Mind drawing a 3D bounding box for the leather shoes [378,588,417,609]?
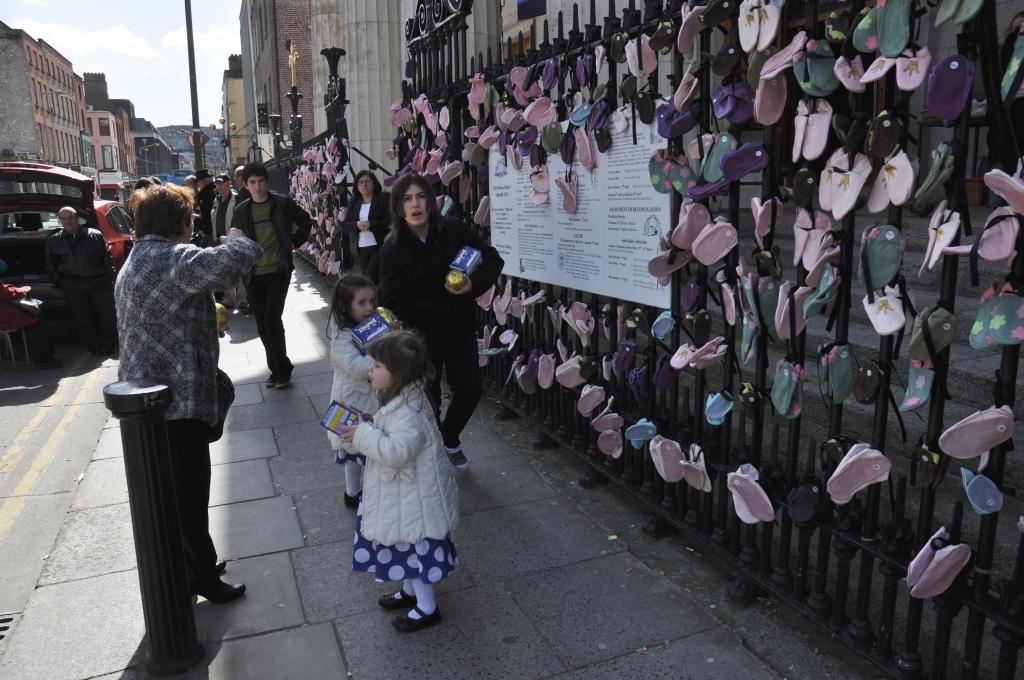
[{"bbox_3d":[-0.684,1.571,4.663,0.259,0.116,0.100,5,10,-7],"label":"leather shoes"}]

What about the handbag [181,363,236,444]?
[{"bbox_3d":[-1.804,0.391,4.767,0.279,0.444,0.161,1,5,12],"label":"handbag"}]

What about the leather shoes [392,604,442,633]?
[{"bbox_3d":[-0.559,1.638,4.530,0.239,0.107,0.124,-1,16,-20],"label":"leather shoes"}]

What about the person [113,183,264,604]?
[{"bbox_3d":[-1.878,0.375,4.563,0.867,2.531,0.538,-7,13,-11],"label":"person"}]

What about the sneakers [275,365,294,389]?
[{"bbox_3d":[-2.531,0.409,8.635,0.095,0.228,0.308,6,20,1],"label":"sneakers"}]

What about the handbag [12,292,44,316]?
[{"bbox_3d":[-6.061,-0.408,9.639,0.223,0.254,0.309,9,20,44],"label":"handbag"}]

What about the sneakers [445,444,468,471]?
[{"bbox_3d":[-0.451,0.953,6.252,0.118,0.151,0.321,-6,9,-39],"label":"sneakers"}]
